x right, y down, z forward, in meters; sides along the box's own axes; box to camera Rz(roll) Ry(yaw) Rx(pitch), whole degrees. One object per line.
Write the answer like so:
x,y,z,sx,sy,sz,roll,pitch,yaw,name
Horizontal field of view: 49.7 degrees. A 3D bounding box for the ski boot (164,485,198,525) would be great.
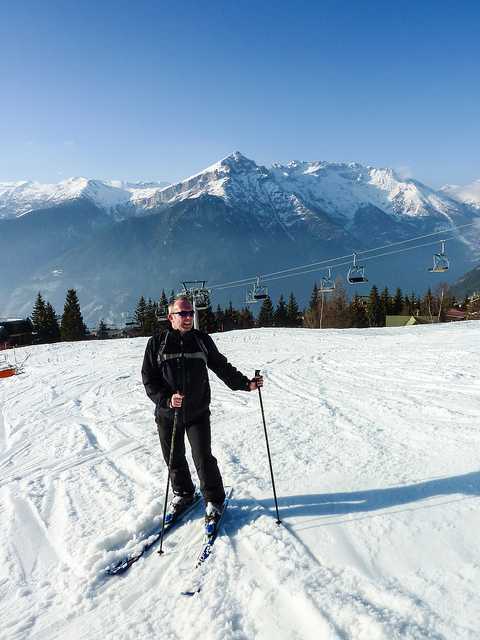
-0.569,1.743,4.931,0.444,0.202,0.140,-27,12,-41,ski boot
